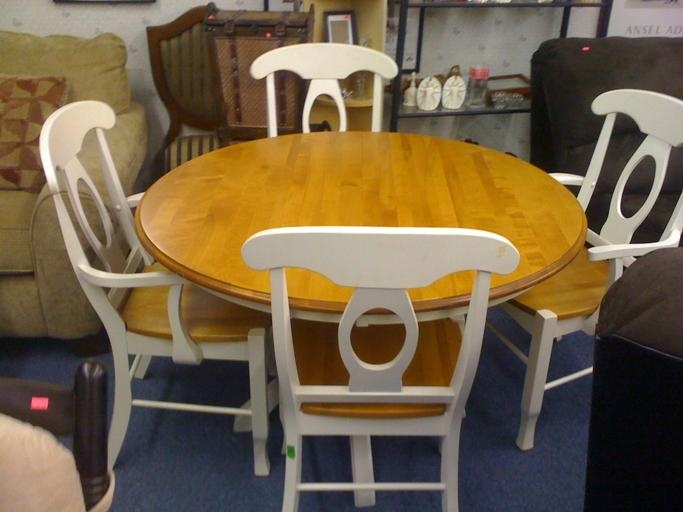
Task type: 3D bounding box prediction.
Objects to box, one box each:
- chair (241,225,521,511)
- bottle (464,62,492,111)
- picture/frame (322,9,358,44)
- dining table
[{"bbox_3d":[0.094,0.350,1.801,0.581,1.012,0.595,-1,46,-1],"label":"chair"},{"bbox_3d":[0.794,-1.016,3.568,0.119,0.244,0.134,4,42,12],"label":"bottle"},{"bbox_3d":[-0.004,-1.267,3.372,0.190,0.173,0.070,0,26,0],"label":"picture/frame"},{"bbox_3d":[0.032,0.308,2.276,1.150,0.832,1.304,-1,48,-1],"label":"dining table"}]
